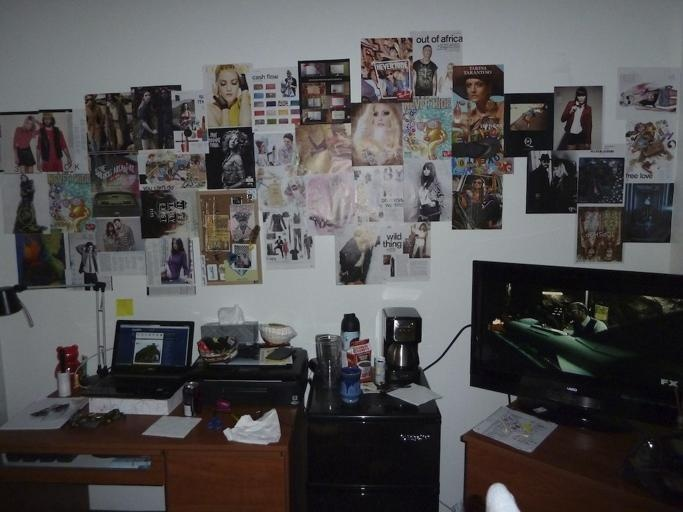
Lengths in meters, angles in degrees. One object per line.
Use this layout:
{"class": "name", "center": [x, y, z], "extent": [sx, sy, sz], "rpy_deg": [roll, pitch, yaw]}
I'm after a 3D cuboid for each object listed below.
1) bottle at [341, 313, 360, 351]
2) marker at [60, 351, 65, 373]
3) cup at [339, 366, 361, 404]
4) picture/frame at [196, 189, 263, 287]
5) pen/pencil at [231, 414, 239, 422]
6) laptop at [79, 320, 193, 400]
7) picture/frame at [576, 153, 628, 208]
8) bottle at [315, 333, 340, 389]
{"class": "bottle", "center": [0.058, 0.388, 2.904], "extent": [0.112, 0.179, 0.099], "rpy_deg": [-5, 8, -19]}
{"class": "marker", "center": [-1.421, 0.539, 2.873], "extent": [0.033, 0.104, 0.027], "rpy_deg": [-6, 9, -28]}
{"class": "cup", "center": [0.040, 0.615, 2.674], "extent": [0.096, 0.148, 0.151], "rpy_deg": [0, -1, -2]}
{"class": "picture/frame", "center": [-0.593, -0.119, 3.036], "extent": [0.447, 0.749, 0.034], "rpy_deg": [-1, 7, 3]}
{"class": "pen/pencil", "center": [-0.508, 0.770, 2.687], "extent": [0.018, 0.012, 0.065], "rpy_deg": [0, 4, -12]}
{"class": "laptop", "center": [-0.998, 0.525, 2.896], "extent": [0.446, 0.399, 0.271], "rpy_deg": [2, -7, 8]}
{"class": "picture/frame", "center": [1.376, -0.411, 2.970], "extent": [0.248, 0.278, 0.013], "rpy_deg": [1, 1, 2]}
{"class": "bottle", "center": [-0.068, 0.532, 2.876], "extent": [0.160, 0.290, 0.200], "rpy_deg": [-1, -10, -2]}
